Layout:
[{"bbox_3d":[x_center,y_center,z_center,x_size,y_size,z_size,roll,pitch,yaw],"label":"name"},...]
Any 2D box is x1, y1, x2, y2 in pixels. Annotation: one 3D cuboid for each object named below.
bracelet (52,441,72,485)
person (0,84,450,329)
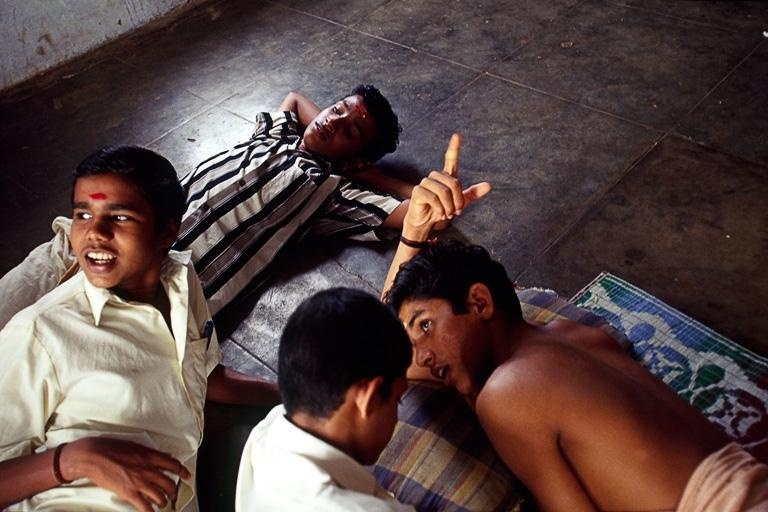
[{"bbox_3d":[-1.210,0.776,2.184,0.035,0.101,0.115,-2,42,-27],"label":"bracelet"},{"bbox_3d":[-0.645,-0.369,3.562,2.466,0.760,1.133,-30,76,-15],"label":"person"}]
